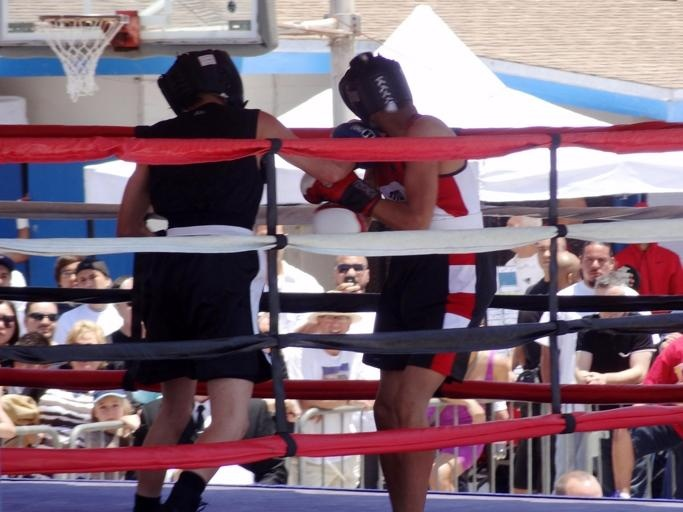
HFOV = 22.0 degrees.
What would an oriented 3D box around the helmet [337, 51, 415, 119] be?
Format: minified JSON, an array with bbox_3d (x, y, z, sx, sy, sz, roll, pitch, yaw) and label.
[{"bbox_3d":[0.154,-0.987,10.131,0.361,0.295,0.420,-7,14,39],"label":"helmet"}]

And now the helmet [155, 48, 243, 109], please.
[{"bbox_3d":[-0.893,-1.000,9.925,0.555,0.322,0.324,-10,2,-6],"label":"helmet"}]

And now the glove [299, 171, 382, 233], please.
[{"bbox_3d":[-0.021,-0.286,9.825,0.361,0.381,0.180,22,52,22],"label":"glove"}]
